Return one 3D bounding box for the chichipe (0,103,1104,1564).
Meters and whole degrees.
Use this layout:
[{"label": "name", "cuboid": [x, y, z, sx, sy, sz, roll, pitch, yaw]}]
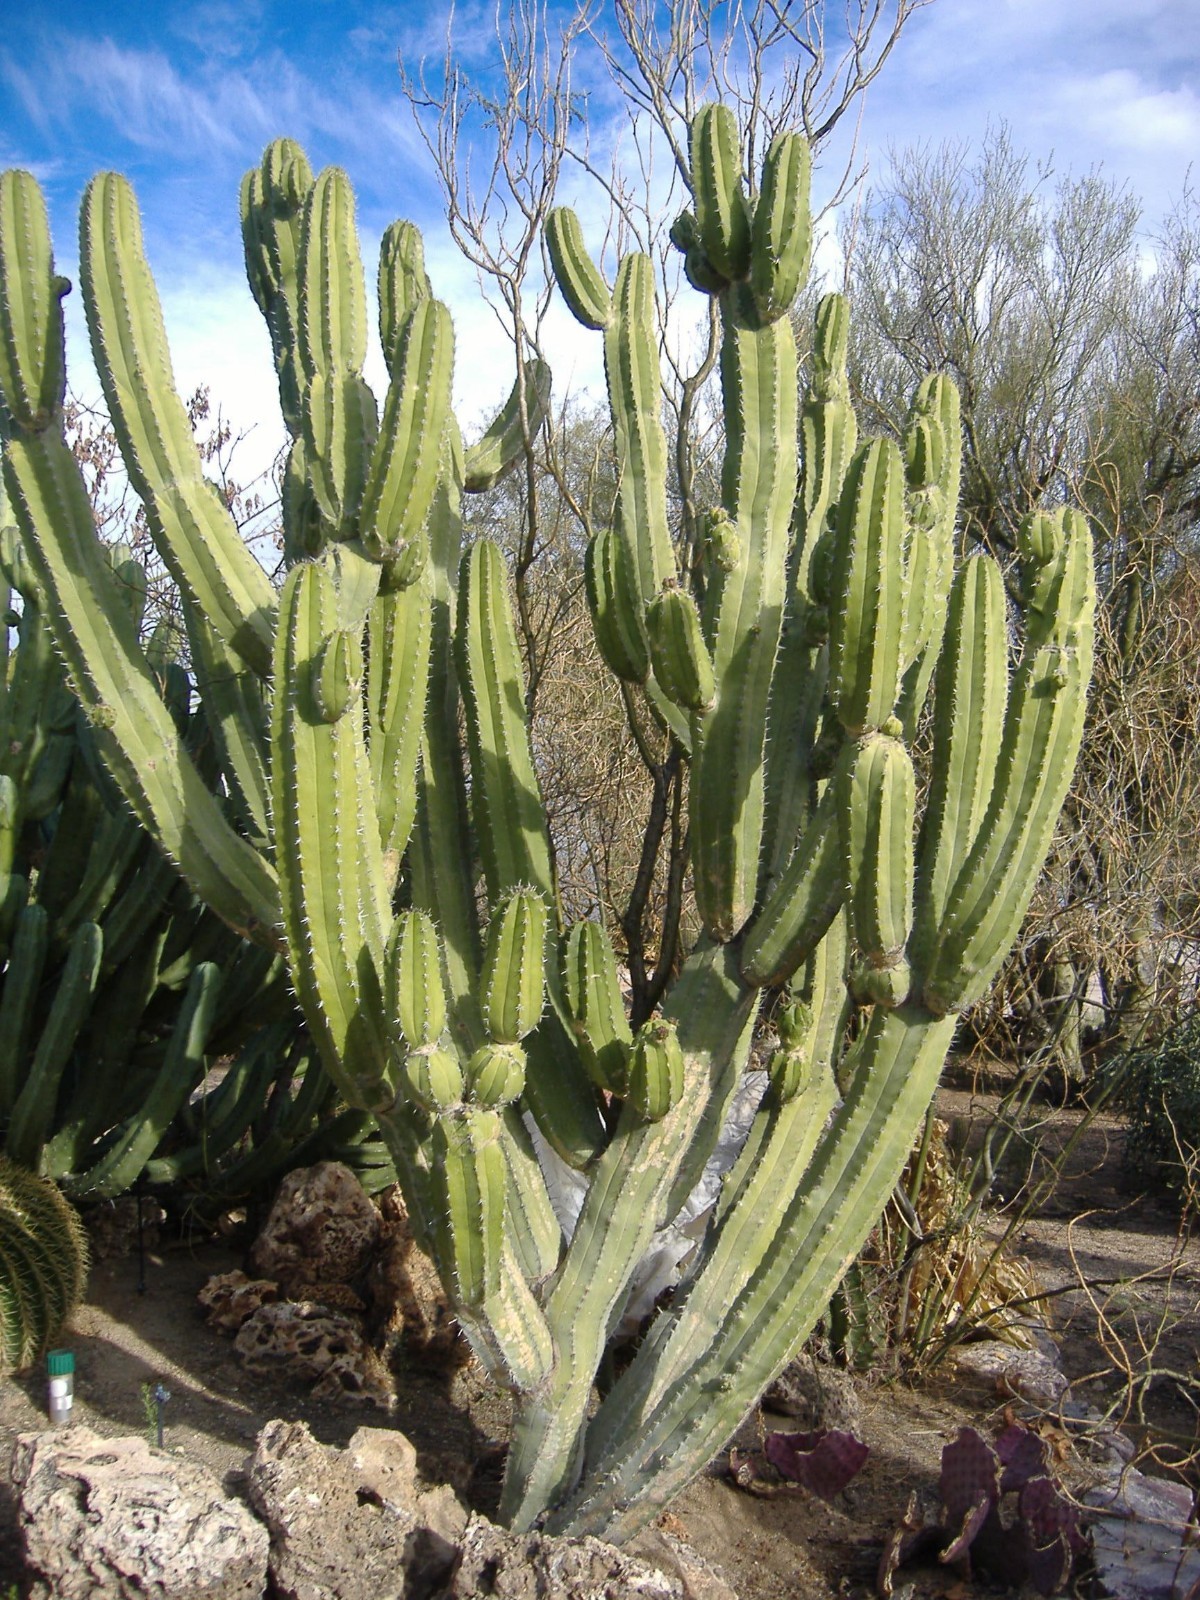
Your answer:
[{"label": "chichipe", "cuboid": [-0.127, 0.052, 2.755, 1.828, 2.516, 1.285, 17, 24, 27]}]
